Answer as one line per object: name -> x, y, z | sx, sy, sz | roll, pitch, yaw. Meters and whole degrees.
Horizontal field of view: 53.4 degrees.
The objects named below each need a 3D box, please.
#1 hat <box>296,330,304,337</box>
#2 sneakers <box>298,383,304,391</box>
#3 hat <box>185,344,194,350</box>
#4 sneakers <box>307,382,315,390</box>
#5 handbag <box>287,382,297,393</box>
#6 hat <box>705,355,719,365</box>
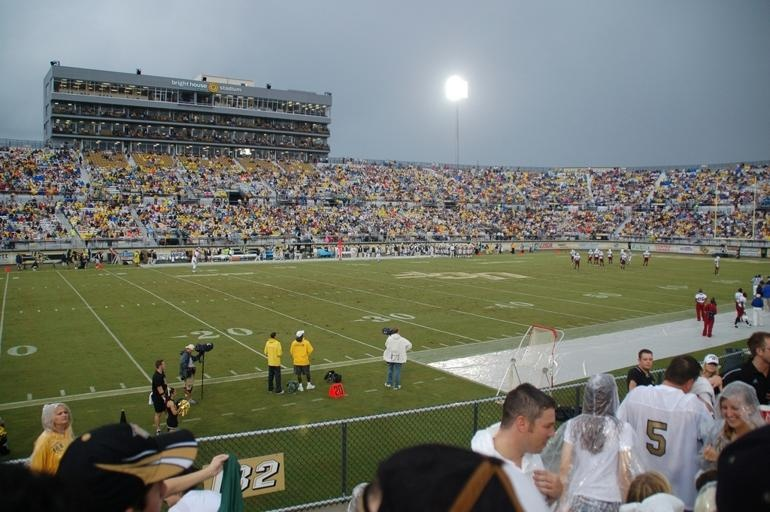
hat -> -2.414, 2.231, 22.028 | 0.255, 0.116, 0.347 | 2, 1, 10
sneakers -> -2.408, 3.784, 22.087 | 0.228, 0.224, 0.127 | 0, 3, 6
hat -> -5.384, 2.521, 21.228 | 0.272, 0.105, 0.288 | 3, -1, -29
sneakers -> -2.124, 3.756, 22.208 | 0.250, 0.178, 0.108 | -13, 16, -42
handbag -> -2.649, 3.751, 21.891 | 0.270, 0.270, 0.087 | -20, 2, -32
hat -> 7.466, 2.378, 17.651 | 0.238, 0.178, 0.237 | 0, 3, 8
